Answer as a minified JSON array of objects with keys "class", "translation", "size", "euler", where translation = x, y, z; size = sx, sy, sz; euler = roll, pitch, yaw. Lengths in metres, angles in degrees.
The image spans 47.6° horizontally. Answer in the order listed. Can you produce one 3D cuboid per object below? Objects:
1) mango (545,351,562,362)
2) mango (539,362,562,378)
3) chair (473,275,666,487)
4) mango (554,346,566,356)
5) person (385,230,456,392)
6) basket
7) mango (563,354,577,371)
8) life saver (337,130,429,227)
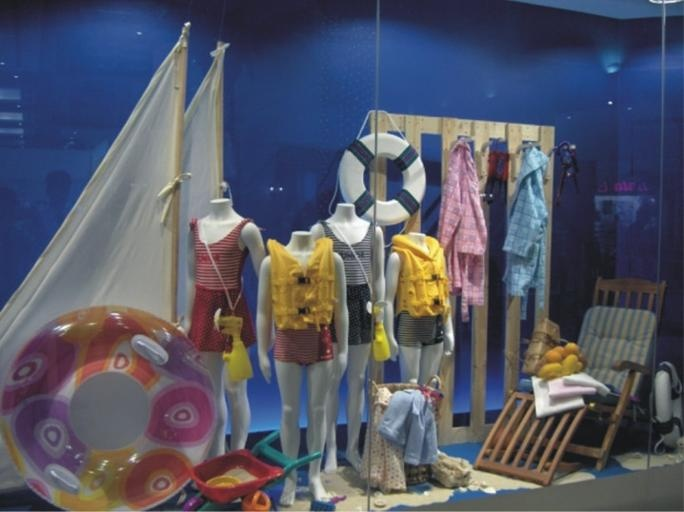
[{"class":"mango","translation":[1.669,0.806,6.129],"size":[0.107,0.112,0.086],"euler":[7,-10,-17]},{"class":"mango","translation":[1.635,0.914,6.093],"size":[0.138,0.097,0.093],"euler":[-19,-14,-6]},{"class":"chair","translation":[1.894,0.961,6.250],"size":[1.877,1.438,0.884],"euler":[-4,3,-41]},{"class":"mango","translation":[1.730,0.757,6.155],"size":[0.056,0.075,0.058],"euler":[25,-42,-18]},{"class":"person","translation":[0.542,0.417,5.999],"size":[0.602,1.180,0.341],"euler":[-1,4,-31]},{"class":"basket","translation":[0.437,1.317,5.644],"size":[0.616,0.791,0.406],"euler":[0,4,-16]},{"class":"mango","translation":[1.785,0.845,6.084],"size":[0.083,0.125,0.065],"euler":[15,-4,8]},{"class":"life saver","translation":[0.324,-0.609,5.896],"size":[0.637,0.736,0.199],"euler":[7,0,-26]}]
